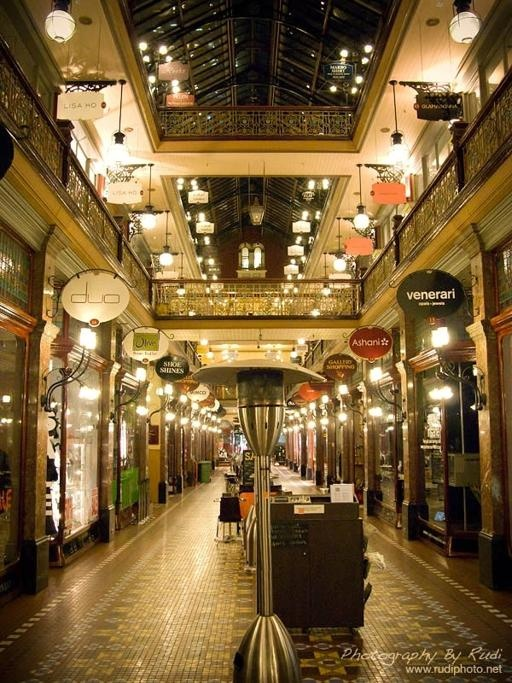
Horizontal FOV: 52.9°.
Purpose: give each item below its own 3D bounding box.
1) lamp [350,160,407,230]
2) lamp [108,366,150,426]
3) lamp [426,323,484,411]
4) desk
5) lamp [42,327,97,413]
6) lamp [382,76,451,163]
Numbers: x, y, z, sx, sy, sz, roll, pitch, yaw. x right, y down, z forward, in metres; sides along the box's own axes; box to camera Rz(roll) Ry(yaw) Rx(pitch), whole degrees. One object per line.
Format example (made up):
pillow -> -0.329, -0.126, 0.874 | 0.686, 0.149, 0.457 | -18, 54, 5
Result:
lamp -> 1.916, -2.270, 8.046 | 0.834, 0.273, 1.099 | 4, -40, 16
lamp -> -2.421, 1.122, 10.123 | 0.653, 1.155, 0.881 | 3, 7, -33
lamp -> 2.471, 0.334, 6.376 | 0.559, 1.115, 0.203 | 0, 20, 34
desk -> 0.534, 2.078, 4.117 | 0.767, 1.021, 1.112 | -3, -56, 10
lamp -> -2.470, 0.449, 6.749 | 0.495, 1.141, 2.232 | 4, -14, -20
lamp -> 2.106, -2.757, 6.475 | 0.953, 1.140, 0.258 | 4, -12, 2
